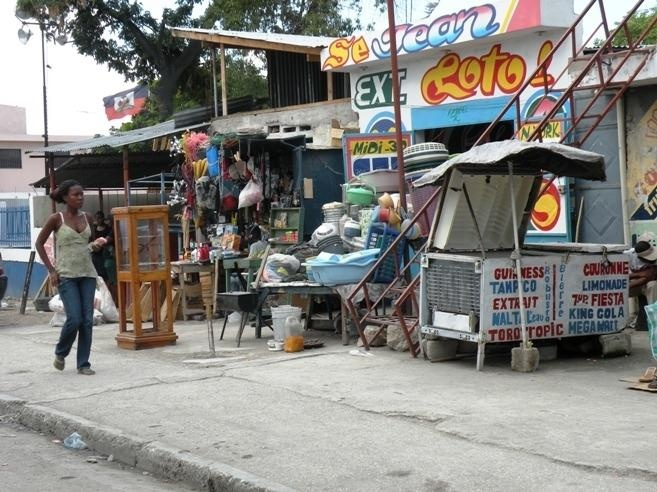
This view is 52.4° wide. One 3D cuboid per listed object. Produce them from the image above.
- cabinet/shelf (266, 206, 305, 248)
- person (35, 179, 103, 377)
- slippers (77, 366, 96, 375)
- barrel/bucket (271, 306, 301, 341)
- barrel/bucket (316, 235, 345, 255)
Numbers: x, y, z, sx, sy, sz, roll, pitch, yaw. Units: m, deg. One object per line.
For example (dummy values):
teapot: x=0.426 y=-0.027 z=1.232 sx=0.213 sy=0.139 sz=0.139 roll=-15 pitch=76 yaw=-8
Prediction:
cabinet/shelf: x=-0.809 y=-0.354 z=13.069 sx=0.728 sy=1.140 sz=0.285 roll=-3 pitch=-12 yaw=25
person: x=-3.395 y=0.390 z=8.798 sx=0.679 sy=2.482 sz=1.008 roll=1 pitch=-2 yaw=-19
slippers: x=-3.031 y=1.574 z=8.462 sx=0.279 sy=0.103 sz=0.160 roll=-3 pitch=-4 yaw=44
barrel/bucket: x=-0.638 y=1.148 z=9.864 sx=0.442 sy=0.490 sz=0.464 roll=1 pitch=-7 yaw=0
barrel/bucket: x=0.044 y=-0.015 z=10.982 sx=0.315 sy=0.312 sz=0.306 roll=-11 pitch=-13 yaw=-3
